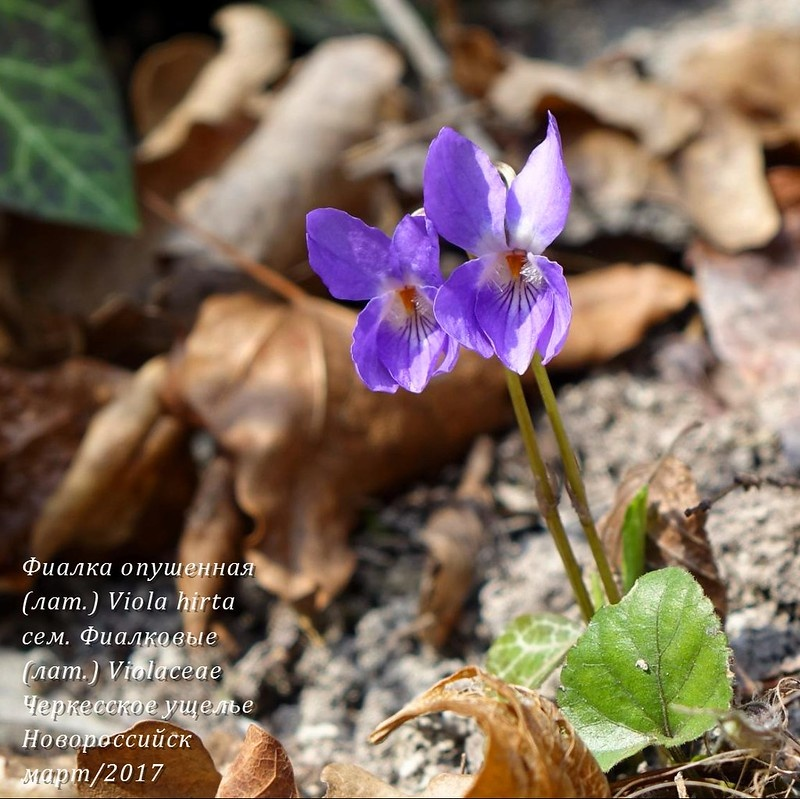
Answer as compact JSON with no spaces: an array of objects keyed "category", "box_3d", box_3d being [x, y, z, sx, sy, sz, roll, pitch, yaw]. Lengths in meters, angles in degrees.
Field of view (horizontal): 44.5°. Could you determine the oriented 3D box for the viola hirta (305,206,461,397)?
[{"category":"viola hirta","box_3d":[-0.084,-0.198,2.067,0.168,0.371,0.368,-30,73,31]}]
